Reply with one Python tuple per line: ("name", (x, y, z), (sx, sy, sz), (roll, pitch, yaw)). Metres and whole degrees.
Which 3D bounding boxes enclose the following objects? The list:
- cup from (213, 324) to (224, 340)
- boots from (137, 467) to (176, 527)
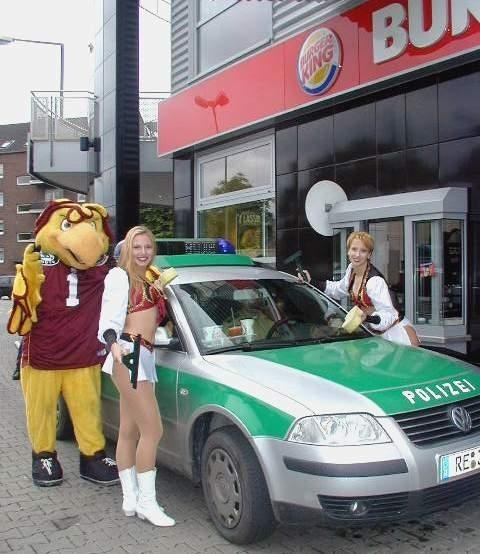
("cup", (-0.144, 0.344, 3.119), (0.067, 0.063, 0.117), (1, 17, -18))
("boots", (-0.482, 1.239, 2.814), (0.264, 0.313, 0.111), (5, 10, 21))
